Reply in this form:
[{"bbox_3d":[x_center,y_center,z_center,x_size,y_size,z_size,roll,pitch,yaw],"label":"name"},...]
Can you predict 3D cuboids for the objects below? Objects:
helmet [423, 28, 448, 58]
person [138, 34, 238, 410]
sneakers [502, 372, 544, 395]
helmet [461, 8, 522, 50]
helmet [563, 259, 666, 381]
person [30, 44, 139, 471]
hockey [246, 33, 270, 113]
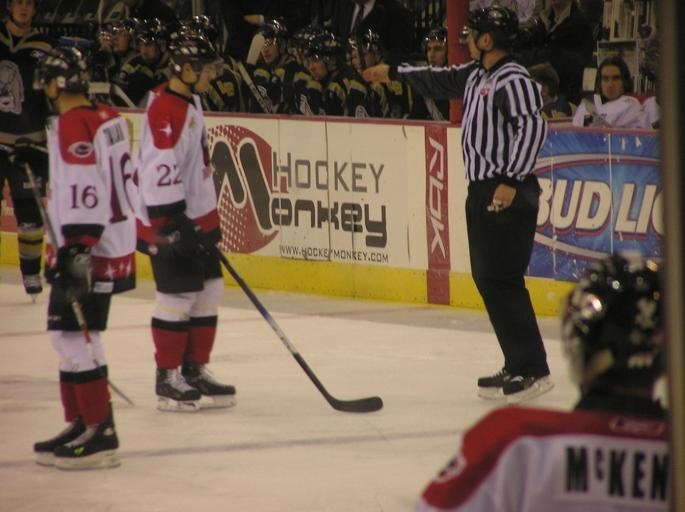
[{"bbox_3d":[0.829,-1.879,8.485,0.186,0.251,0.254,4,34,1],"label":"helmet"},{"bbox_3d":[-0.916,-0.201,5.560,0.505,2.167,0.403,-3,9,-13],"label":"person"},{"bbox_3d":[1.022,0.734,5.500,0.258,0.124,0.096,-7,2,-5],"label":"sneakers"},{"bbox_3d":[0.876,-1.309,5.559,0.274,0.261,0.226,24,33,3],"label":"helmet"},{"bbox_3d":[0.631,0.152,2.230,0.225,0.302,0.201,1,9,15],"label":"helmet"},{"bbox_3d":[-1.280,0.163,4.676,0.558,1.769,0.337,-4,9,-16],"label":"person"},{"bbox_3d":[-0.847,-1.795,9.720,0.199,0.993,0.109,-20,-19,26],"label":"hockey"}]
